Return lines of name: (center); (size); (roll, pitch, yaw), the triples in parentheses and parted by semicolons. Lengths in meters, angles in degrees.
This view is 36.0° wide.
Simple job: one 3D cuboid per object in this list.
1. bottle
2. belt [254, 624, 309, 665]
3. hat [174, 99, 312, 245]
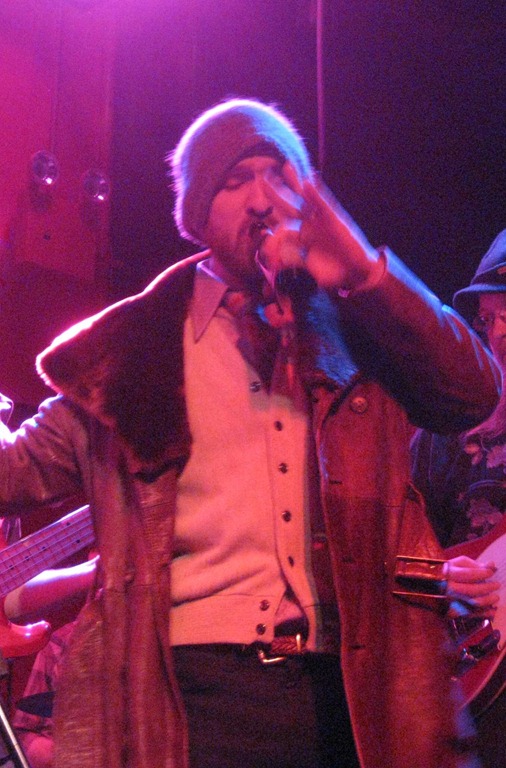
bottle: (0.048, -0.207, 1.307); (0.088, 0.068, 0.143); (-24, 18, 9)
belt: (0.038, 0.412, 1.222); (0.061, 0.059, 0.023); (-9, -16, 3)
hat: (0.004, -0.423, 1.572); (0.241, 0.240, 0.253); (0, -11, -22)
